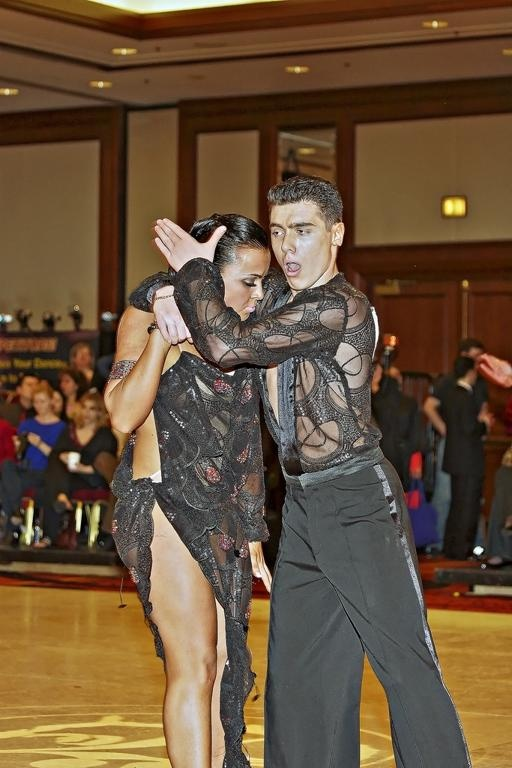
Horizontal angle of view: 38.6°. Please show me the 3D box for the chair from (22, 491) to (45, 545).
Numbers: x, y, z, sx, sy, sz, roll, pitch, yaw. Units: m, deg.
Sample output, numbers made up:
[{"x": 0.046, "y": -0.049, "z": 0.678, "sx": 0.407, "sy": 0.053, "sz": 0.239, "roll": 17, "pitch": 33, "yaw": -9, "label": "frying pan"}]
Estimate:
[{"x": -2.251, "y": 1.410, "z": 7.393, "sx": 0.200, "sy": 0.433, "sz": 0.168, "roll": -3, "pitch": 0, "yaw": -15, "label": "chair"}]

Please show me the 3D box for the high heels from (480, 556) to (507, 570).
[{"x": 2.017, "y": 1.563, "z": 6.356, "sx": 0.298, "sy": 0.117, "sz": 0.095, "roll": -3, "pitch": 12, "yaw": 10, "label": "high heels"}]
